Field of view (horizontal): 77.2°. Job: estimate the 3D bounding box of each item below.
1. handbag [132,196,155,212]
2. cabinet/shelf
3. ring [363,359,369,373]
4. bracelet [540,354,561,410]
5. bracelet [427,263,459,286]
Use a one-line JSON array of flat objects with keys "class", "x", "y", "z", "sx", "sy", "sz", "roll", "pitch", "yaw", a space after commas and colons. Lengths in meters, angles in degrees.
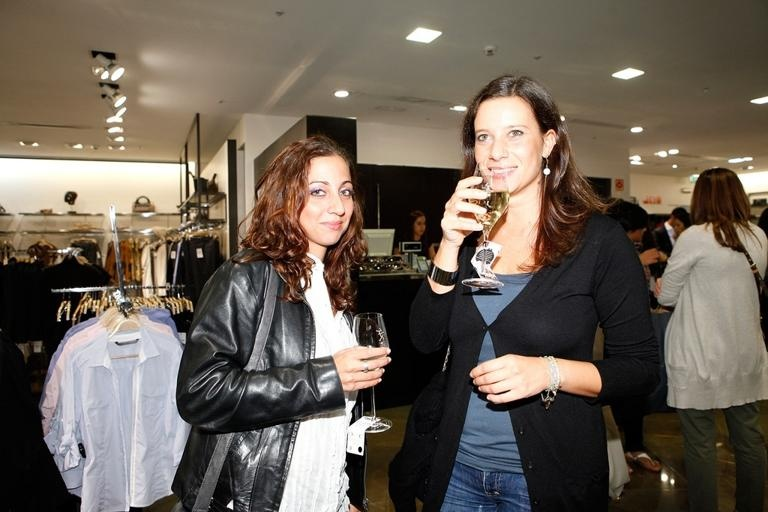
[{"class": "handbag", "x": -5.217, "y": -1.130, "z": 10.385, "sx": 0.374, "sy": 0.328, "sz": 0.196, "roll": 1, "pitch": 32, "yaw": -20}, {"class": "cabinet/shelf", "x": -3.235, "y": -1.482, "z": 8.574, "sx": 0.419, "sy": 1.303, "sz": 1.860, "roll": -1, "pitch": -1, "yaw": -17}, {"class": "ring", "x": -0.076, "y": 0.470, "z": 2.064, "sx": 0.029, "sy": 0.046, "sz": 0.045, "roll": 2, "pitch": 12, "yaw": 2}, {"class": "bracelet", "x": 0.720, "y": 0.554, "z": 2.098, "sx": 0.054, "sy": 0.182, "sz": 0.134, "roll": 5, "pitch": -1, "yaw": 2}, {"class": "bracelet", "x": 0.276, "y": 0.094, "z": 2.267, "sx": 0.105, "sy": 0.074, "sz": 0.106, "roll": 15, "pitch": 6, "yaw": 1}]
